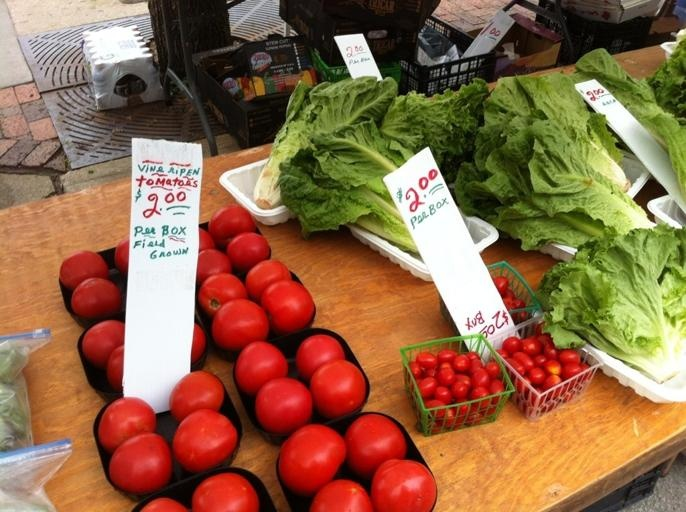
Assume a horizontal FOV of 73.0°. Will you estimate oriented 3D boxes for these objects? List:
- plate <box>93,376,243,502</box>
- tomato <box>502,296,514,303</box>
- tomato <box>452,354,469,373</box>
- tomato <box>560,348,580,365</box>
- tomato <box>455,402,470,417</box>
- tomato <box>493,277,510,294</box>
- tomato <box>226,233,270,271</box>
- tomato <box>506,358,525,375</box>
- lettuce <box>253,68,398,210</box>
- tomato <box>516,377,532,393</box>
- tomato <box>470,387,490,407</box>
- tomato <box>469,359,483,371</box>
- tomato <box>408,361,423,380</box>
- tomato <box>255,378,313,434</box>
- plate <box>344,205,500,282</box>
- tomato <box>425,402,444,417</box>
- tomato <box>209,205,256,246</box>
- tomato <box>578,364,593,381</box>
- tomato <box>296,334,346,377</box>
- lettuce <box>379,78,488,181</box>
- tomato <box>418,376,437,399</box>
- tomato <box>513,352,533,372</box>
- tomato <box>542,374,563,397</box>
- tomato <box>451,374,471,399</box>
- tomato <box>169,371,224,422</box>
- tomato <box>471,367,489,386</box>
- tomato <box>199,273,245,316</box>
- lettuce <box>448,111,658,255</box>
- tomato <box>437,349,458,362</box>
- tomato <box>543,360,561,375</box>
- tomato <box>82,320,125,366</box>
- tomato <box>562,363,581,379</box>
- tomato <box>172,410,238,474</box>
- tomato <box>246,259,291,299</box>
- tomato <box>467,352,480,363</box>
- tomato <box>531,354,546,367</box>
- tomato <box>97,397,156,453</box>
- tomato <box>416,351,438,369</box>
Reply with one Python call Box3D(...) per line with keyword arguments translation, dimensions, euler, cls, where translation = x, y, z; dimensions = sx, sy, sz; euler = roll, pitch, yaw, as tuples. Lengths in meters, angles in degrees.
Box3D(translation=(-0.423, 0.476, 1.159), dimensions=(0.293, 0.116, 0.288), euler=(-10, 40, -20), cls="plate")
Box3D(translation=(0.509, 0.134, 1.430), dimensions=(0.022, 0.016, 0.017), euler=(-2, 94, 1), cls="tomato")
Box3D(translation=(0.319, 0.289, 1.245), dimensions=(0.035, 0.035, 0.046), euler=(25, 47, -25), cls="tomato")
Box3D(translation=(0.621, 0.276, 1.266), dimensions=(0.042, 0.041, 0.039), euler=(-5, 15, 13), cls="tomato")
Box3D(translation=(0.305, 0.395, 1.206), dimensions=(0.037, 0.045, 0.041), euler=(2, 66, 7), cls="tomato")
Box3D(translation=(0.497, 0.086, 1.449), dimensions=(0.053, 0.042, 0.040), euler=(27, 60, 12), cls="tomato")
Box3D(translation=(-0.311, -0.019, 1.611), dimensions=(0.133, 0.129, 0.127), euler=(-15, 69, -2), cls="tomato")
Box3D(translation=(0.466, 0.297, 1.253), dimensions=(0.028, 0.027, 0.052), euler=(-20, 46, -38), cls="tomato")
Box3D(translation=(-0.076, -0.522, 1.870), dimensions=(0.391, 0.258, 0.723), euler=(27, 59, 7), cls="lettuce")
Box3D(translation=(0.482, 0.345, 1.243), dimensions=(0.040, 0.050, 0.043), euler=(-3, 96, 2), cls="tomato")
Box3D(translation=(0.355, 0.356, 1.198), dimensions=(0.050, 0.050, 0.048), euler=(-2, 12, 1), cls="tomato")
Box3D(translation=(0.359, 0.292, 1.247), dimensions=(0.026, 0.027, 0.029), euler=(11, 21, 32), cls="tomato")
Box3D(translation=(0.197, 0.307, 1.245), dimensions=(0.032, 0.043, 0.032), euler=(-12, 77, -8), cls="tomato")
Box3D(translation=(-0.150, 0.385, 1.169), dimensions=(0.133, 0.097, 0.131), euler=(-2, 35, -4), cls="tomato")
Box3D(translation=(0.231, -0.053, 1.644), dimensions=(0.278, 0.065, 0.389), euler=(-27, 48, -28), cls="plate")
Box3D(translation=(0.234, 0.389, 1.192), dimensions=(0.034, 0.044, 0.035), euler=(-3, 88, -11), cls="tomato")
Box3D(translation=(-0.397, -0.117, 1.691), dimensions=(0.147, 0.143, 0.139), euler=(17, 22, -25), cls="tomato")
Box3D(translation=(0.660, 0.316, 1.263), dimensions=(0.041, 0.058, 0.033), euler=(-14, 67, -1), cls="tomato")
Box3D(translation=(-0.057, 0.266, 1.337), dimensions=(0.118, 0.136, 0.114), euler=(-30, 81, -3), cls="tomato")
Box3D(translation=(0.374, -0.504, 1.947), dimensions=(0.412, 0.207, 0.408), euler=(-18, 58, -9), cls="lettuce")
Box3D(translation=(0.222, 0.342, 1.207), dimensions=(0.056, 0.042, 0.041), euler=(-37, 54, -1), cls="tomato")
Box3D(translation=(0.491, 0.284, 1.271), dimensions=(0.037, 0.038, 0.049), euler=(2, 28, -22), cls="tomato")
Box3D(translation=(0.552, 0.341, 1.240), dimensions=(0.042, 0.052, 0.046), euler=(6, 33, 5), cls="tomato")
Box3D(translation=(0.307, 0.344, 1.206), dimensions=(0.046, 0.032, 0.063), euler=(28, 86, 1), cls="tomato")
Box3D(translation=(-0.378, 0.357, 1.250), dimensions=(0.140, 0.106, 0.109), euler=(-42, 101, -30), cls="tomato")
Box3D(translation=(0.361, 0.317, 1.222), dimensions=(0.034, 0.035, 0.045), euler=(-5, 78, -2), cls="tomato")
Box3D(translation=(-0.376, 0.106, 1.489), dimensions=(0.133, 0.128, 0.132), euler=(-5, 52, -28), cls="tomato")
Box3D(translation=(0.669, -0.254, 1.670), dimensions=(0.605, 0.327, 0.434), euler=(37, 76, 30), cls="lettuce")
Box3D(translation=(0.290, 0.273, 1.261), dimensions=(0.039, 0.030, 0.029), euler=(3, 63, 1), cls="tomato")
Box3D(translation=(0.570, 0.300, 1.255), dimensions=(0.035, 0.040, 0.034), euler=(38, 103, 30), cls="tomato")
Box3D(translation=(-0.667, 0.247, 1.297), dimensions=(0.085, 0.082, 0.087), euler=(-19, 16, 13), cls="tomato")
Box3D(translation=(0.613, 0.307, 1.244), dimensions=(0.039, 0.041, 0.047), euler=(21, 74, 12), cls="tomato")
Box3D(translation=(-0.323, 0.442, 1.165), dimensions=(0.125, 0.158, 0.118), euler=(19, 89, 8), cls="tomato")
Box3D(translation=(-0.241, 0.060, 1.517), dimensions=(0.124, 0.116, 0.121), euler=(-25, 86, -15), cls="tomato")
Box3D(translation=(0.358, 0.275, 1.266), dimensions=(0.020, 0.019, 0.026), euler=(-20, 62, -21), cls="tomato")
Box3D(translation=(0.542, 0.286, 1.277), dimensions=(0.028, 0.028, 0.034), euler=(3, 26, 20), cls="tomato")
Box3D(translation=(-0.533, 0.401, 1.159), dimensions=(0.136, 0.127, 0.133), euler=(-9, 82, 20), cls="tomato")
Box3D(translation=(0.232, 0.280, 1.288), dimensions=(0.048, 0.037, 0.036), euler=(28, 52, 17), cls="tomato")
